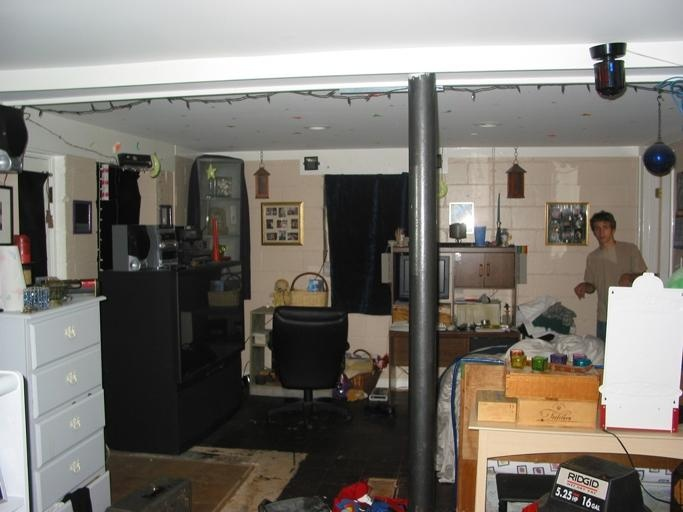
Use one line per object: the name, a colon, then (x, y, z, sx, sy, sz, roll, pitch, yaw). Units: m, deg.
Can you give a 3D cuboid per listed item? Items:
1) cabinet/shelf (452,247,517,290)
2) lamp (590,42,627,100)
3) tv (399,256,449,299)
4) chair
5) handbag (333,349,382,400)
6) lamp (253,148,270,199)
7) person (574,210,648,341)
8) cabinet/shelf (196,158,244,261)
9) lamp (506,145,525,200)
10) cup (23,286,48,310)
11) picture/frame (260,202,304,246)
cabinet/shelf: (1.493, 0.127, 6.349, 0.711, 0.478, 0.399, 0, -2, 4)
lamp: (1.535, -1.048, 3.518, 0.243, 0.368, 0.250, 1, 3, 18)
tv: (0.639, 0.149, 4.571, 0.412, 0.404, 0.228, 1, -1, 13)
chair: (-0.303, 0.976, 5.826, 0.970, 1.377, 1.010, 1, 4, -3)
handbag: (0.190, 1.323, 6.696, 0.444, 0.375, 0.404, 0, -4, -10)
lamp: (-0.943, -0.947, 7.200, 0.188, 0.562, 0.086, 1, 9, 4)
person: (2.718, 0.176, 6.300, 0.426, 1.247, 0.656, -7, 11, -37)
cabinet/shelf: (-1.367, -0.551, 7.032, 0.557, 1.183, 0.339, -2, 9, -14)
lamp: (1.947, -0.828, 6.834, 0.213, 0.379, 0.094, 3, 9, 16)
cup: (-1.920, 0.265, 3.848, 0.130, 0.187, 0.133, 0, -1, 0)
picture/frame: (-0.679, -0.397, 7.208, 0.482, 0.517, 0.041, 0, 4, 8)
